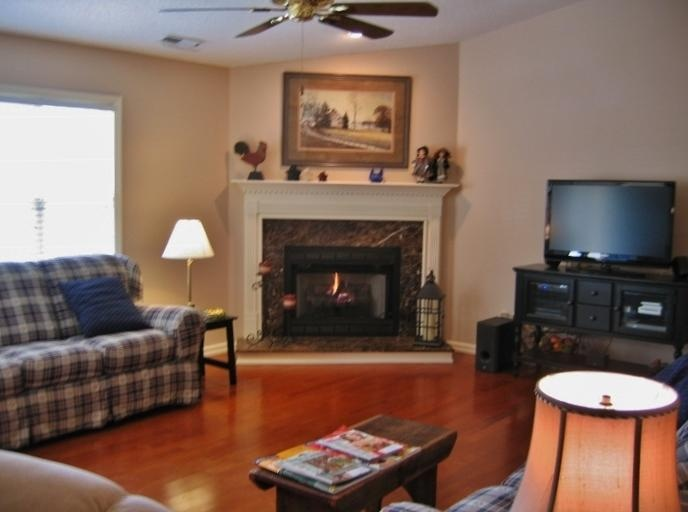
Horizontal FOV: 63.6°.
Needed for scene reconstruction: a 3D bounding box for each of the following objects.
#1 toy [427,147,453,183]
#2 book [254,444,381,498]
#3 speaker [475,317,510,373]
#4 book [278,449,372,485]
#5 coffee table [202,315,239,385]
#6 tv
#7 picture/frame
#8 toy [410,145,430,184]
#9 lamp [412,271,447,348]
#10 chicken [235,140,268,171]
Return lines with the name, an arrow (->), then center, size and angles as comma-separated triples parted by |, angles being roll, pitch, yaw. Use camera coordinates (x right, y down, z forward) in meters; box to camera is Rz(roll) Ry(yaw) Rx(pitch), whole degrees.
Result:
toy -> 0.961, -0.906, 5.542 | 0.211, 0.328, 0.118 | 1, 8, 1
book -> -0.077, 0.825, 2.135 | 0.247, 0.027, 0.269 | 4, 3, 38
speaker -> 1.439, 0.816, 5.274 | 0.269, 0.467, 0.417 | 1, 8, 44
book -> -0.065, 0.809, 2.148 | 0.326, 0.035, 0.222 | 4, 7, 23
coffee table -> -1.102, 0.778, 4.967 | 0.309, 0.628, 1.008 | -1, 7, -12
tv -> 2.305, -0.287, 4.713 | 0.770, 0.545, 0.079 | 5, 5, 35
picture/frame -> -0.014, -1.415, 5.569 | 1.060, 0.722, 0.037 | 1, 4, -5
toy -> 0.782, -0.914, 5.584 | 0.162, 0.344, 0.204 | 2, 8, 5
lamp -> 0.871, 0.508, 5.548 | 0.268, 0.701, 0.393 | 2, 8, 8
chicken -> -0.905, -1.019, 5.571 | 0.336, 0.293, 0.109 | 1, -3, -5
